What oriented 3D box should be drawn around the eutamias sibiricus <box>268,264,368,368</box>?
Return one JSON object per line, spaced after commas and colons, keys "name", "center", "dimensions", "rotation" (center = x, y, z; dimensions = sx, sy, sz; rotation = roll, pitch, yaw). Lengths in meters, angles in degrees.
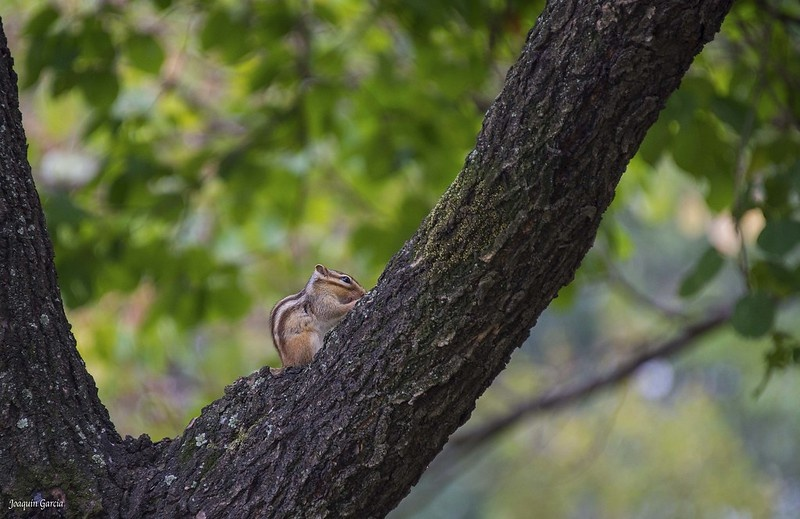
{"name": "eutamias sibiricus", "center": [-0.561, 0.454, 8.064], "dimensions": [0.734, 0.781, 0.317], "rotation": [-11, -29, -2]}
